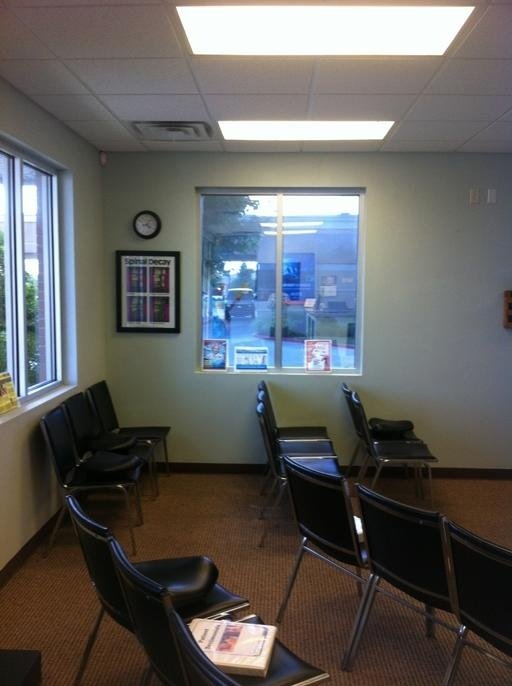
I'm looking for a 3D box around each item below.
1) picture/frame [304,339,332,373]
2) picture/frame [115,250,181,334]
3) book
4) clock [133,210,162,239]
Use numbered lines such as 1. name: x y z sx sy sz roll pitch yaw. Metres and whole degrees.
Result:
1. picture/frame: 0.564 0.119 4.805 0.313 0.353 0.046 1 -2 0
2. picture/frame: -0.981 -0.498 4.702 0.759 0.928 0.065 0 5 4
3. book: -0.088 0.976 1.682 0.295 0.072 0.303 3 6 5
4. clock: -0.976 -1.059 4.650 0.247 0.242 0.058 -1 9 2
